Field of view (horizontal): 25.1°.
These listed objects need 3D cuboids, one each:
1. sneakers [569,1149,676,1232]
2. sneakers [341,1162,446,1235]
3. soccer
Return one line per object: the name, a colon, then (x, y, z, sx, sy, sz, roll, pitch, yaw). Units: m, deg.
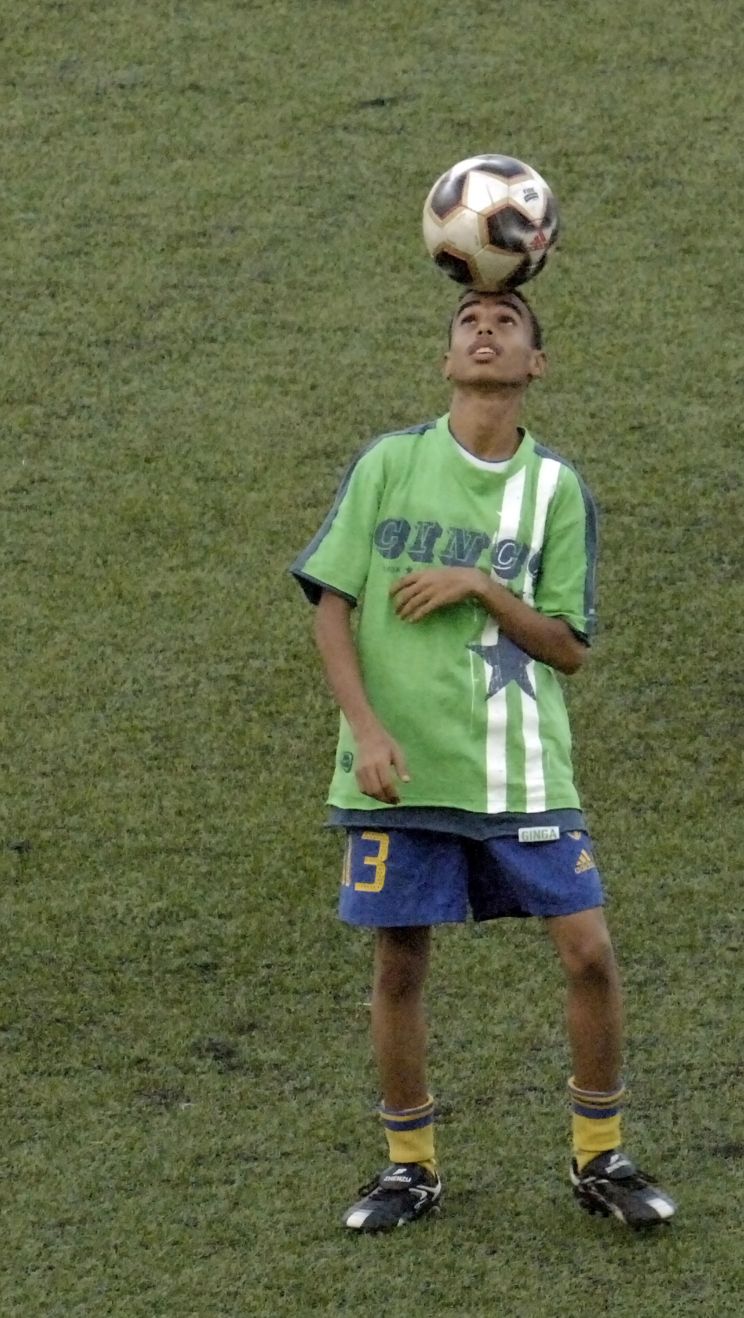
sneakers: (0.493, 1.047, 3.326, 0.110, 0.103, 0.215, -24, 21, -32)
sneakers: (0.048, 1.086, 3.400, 0.189, 0.088, 0.105, -16, 25, -42)
soccer: (0.224, -0.910, 3.430, 0.262, 0.303, 0.268, 11, 38, 27)
